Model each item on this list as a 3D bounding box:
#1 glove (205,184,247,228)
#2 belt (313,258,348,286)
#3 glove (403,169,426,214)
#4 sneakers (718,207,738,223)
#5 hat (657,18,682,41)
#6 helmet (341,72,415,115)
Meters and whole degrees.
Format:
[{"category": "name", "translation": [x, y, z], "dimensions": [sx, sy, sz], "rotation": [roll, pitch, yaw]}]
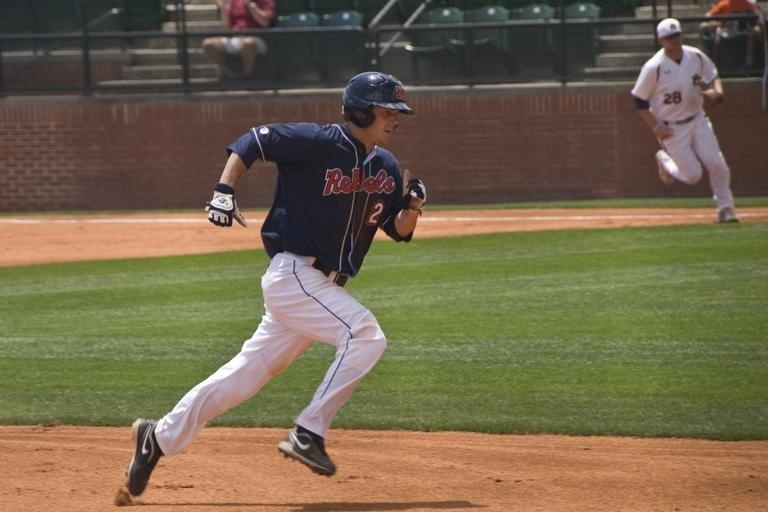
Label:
[{"category": "glove", "translation": [-1.745, -0.553, 17.987], "dimensions": [0.334, 0.457, 0.163], "rotation": [1, 9, -1]}, {"category": "belt", "translation": [-0.592, 0.187, 18.215], "dimensions": [0.385, 0.131, 0.244], "rotation": [29, 20, -17]}, {"category": "glove", "translation": [0.342, -0.703, 18.496], "dimensions": [0.326, 0.441, 0.203], "rotation": [0, -26, -13]}, {"category": "sneakers", "translation": [4.839, -0.560, 23.502], "dimensions": [0.167, 0.136, 0.365], "rotation": [0, -4, -7]}, {"category": "hat", "translation": [3.953, -3.178, 23.362], "dimensions": [0.414, 0.208, 0.475], "rotation": [-7, 3, -5]}, {"category": "helmet", "translation": [-0.056, -1.795, 18.283], "dimensions": [0.759, 0.266, 0.458], "rotation": [2, 5, 10]}]
